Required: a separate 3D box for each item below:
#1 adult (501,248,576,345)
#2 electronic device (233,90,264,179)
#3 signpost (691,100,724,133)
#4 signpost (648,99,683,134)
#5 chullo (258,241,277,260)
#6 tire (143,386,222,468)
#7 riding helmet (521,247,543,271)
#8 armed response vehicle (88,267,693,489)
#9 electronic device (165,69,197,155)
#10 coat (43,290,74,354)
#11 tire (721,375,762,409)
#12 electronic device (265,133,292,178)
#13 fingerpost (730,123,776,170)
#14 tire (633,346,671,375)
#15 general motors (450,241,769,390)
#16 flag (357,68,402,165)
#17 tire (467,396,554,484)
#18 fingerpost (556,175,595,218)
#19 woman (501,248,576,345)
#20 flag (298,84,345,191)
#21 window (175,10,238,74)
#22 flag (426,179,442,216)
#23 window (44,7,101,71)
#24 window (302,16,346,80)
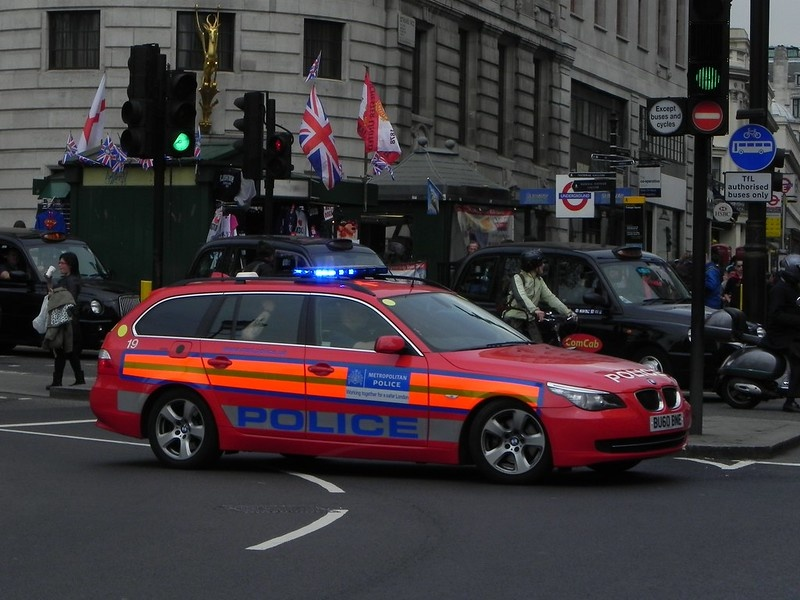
[{"bbox_3d":[1.965,0.148,14.930,0.979,1.662,0.978,1,10,0],"label":"adult"},{"bbox_3d":[-2.259,-2.506,15.929,0.480,1.334,0.836,4,7,-10],"label":"electronic device"},{"bbox_3d":[3.426,-2.054,11.807,0.344,0.372,0.058,2,-13,9],"label":"signpost"},{"bbox_3d":[3.136,-2.190,12.589,0.271,0.452,1.161,6,8,6],"label":"signpost"},{"bbox_3d":[-1.879,-0.705,14.868,0.174,0.225,0.248,10,19,25],"label":"chullo"},{"bbox_3d":[-2.098,1.222,10.381,0.668,0.718,0.261,11,2,27],"label":"tire"},{"bbox_3d":[1.851,-0.596,14.980,0.291,0.301,0.238,-17,14,-15],"label":"riding helmet"},{"bbox_3d":[-0.048,0.782,10.424,5.473,1.790,2.237,-1,-2,21],"label":"armed response vehicle"},{"bbox_3d":[-3.026,-2.587,14.620,0.408,1.199,0.439,4,7,-10],"label":"electronic device"},{"bbox_3d":[-5.038,0.313,15.752,0.410,0.948,0.336,3,8,-17],"label":"coat"},{"bbox_3d":[4.779,1.309,14.949,0.648,0.457,0.336,10,9,32],"label":"tire"},{"bbox_3d":[-1.836,-2.234,16.133,0.411,0.726,0.619,4,7,-8],"label":"electronic device"},{"bbox_3d":[5.578,-2.456,16.835,0.692,0.721,0.434,7,7,11],"label":"fingerpost"},{"bbox_3d":[3.289,0.774,13.765,0.157,0.451,0.424,2,4,-45],"label":"tire"},{"bbox_3d":[3.044,0.019,16.058,4.429,2.261,2.159,5,4,24],"label":"general motors"},{"bbox_3d":[-0.499,-4.683,26.963,1.057,2.277,2.250,5,7,-3],"label":"flag"},{"bbox_3d":[0.976,1.193,9.249,0.682,0.738,0.247,-5,0,18],"label":"tire"},{"bbox_3d":[4.416,-2.661,27.190,1.040,1.164,1.029,1,5,12],"label":"fingerpost"},{"bbox_3d":[1.943,0.151,14.880,1.018,1.679,0.900,3,10,15],"label":"woman"},{"bbox_3d":[-1.711,-3.556,23.107,0.901,2.181,1.814,4,7,-6],"label":"flag"},{"bbox_3d":[-6.074,-8.158,33.100,1.821,1.880,0.601,4,7,-10],"label":"window"},{"bbox_3d":[0.834,-2.519,26.053,0.080,1.134,0.896,-3,-4,28],"label":"flag"},{"bbox_3d":[-10.295,-8.329,33.595,1.968,2.393,0.155,0,1,15],"label":"window"},{"bbox_3d":[-2.460,-8.091,33.930,1.304,1.835,0.639,4,7,-10],"label":"window"}]
